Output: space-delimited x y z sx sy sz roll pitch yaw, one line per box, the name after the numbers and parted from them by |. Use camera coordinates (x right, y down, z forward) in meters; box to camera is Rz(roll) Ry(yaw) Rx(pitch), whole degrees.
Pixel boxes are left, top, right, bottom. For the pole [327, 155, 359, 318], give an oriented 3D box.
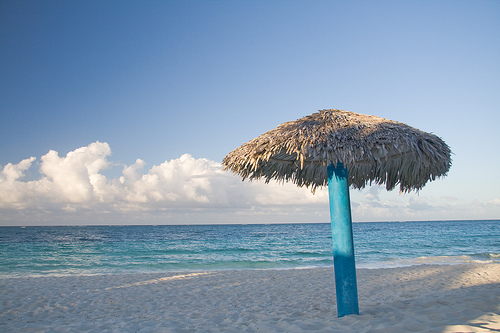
2.360 1.850 9.076 0.650 3.974 0.672 -2 -8 13 | pole

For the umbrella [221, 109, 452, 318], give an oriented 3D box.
2.375 1.780 10.731 6.306 5.024 5.779 0 -21 -11 | umbrella
